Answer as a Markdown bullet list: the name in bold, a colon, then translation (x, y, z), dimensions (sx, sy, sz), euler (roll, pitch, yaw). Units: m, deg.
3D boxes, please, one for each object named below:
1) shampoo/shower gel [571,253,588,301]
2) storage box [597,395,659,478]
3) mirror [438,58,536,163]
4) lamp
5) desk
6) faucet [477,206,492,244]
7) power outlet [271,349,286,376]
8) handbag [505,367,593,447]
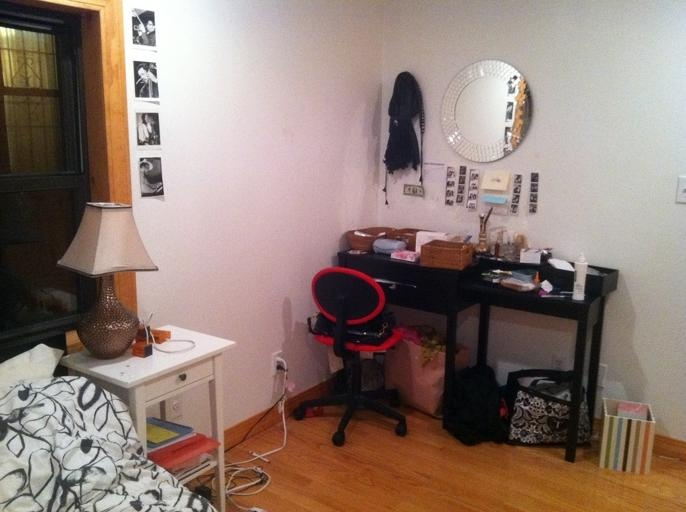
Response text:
- **shampoo/shower gel**: translation (1.391, 0.130, 3.108), dimensions (0.065, 0.250, 0.114), euler (5, 14, 14)
- **storage box**: translation (1.636, 1.055, 3.168), dimensions (0.338, 0.478, 0.466), euler (1, 1, 19)
- **mirror**: translation (1.001, -1.000, 3.596), dimensions (0.582, 0.662, 0.031), euler (20, 18, 28)
- **lamp**: translation (-1.037, 0.123, 2.345), dimensions (0.371, 0.702, 0.246), euler (-7, 16, -33)
- **desk**: translation (0.876, 0.631, 3.399), dimensions (1.176, 0.769, 0.387), euler (6, 10, 35)
- **faucet**: translation (0.974, -0.213, 3.638), dimensions (0.082, 0.244, 0.179), euler (6, 14, 16)
- **power outlet**: translation (-0.431, 0.704, 3.499), dimensions (0.086, 0.178, 0.173), euler (2, 5, 20)
- **handbag**: translation (1.294, 0.901, 3.449), dimensions (0.450, 0.358, 0.464), euler (1, 6, 20)
